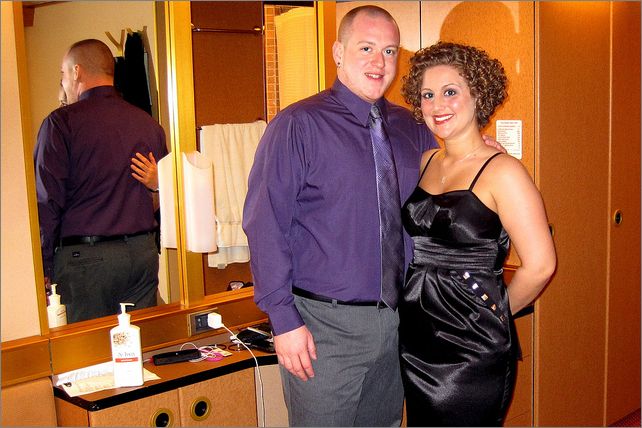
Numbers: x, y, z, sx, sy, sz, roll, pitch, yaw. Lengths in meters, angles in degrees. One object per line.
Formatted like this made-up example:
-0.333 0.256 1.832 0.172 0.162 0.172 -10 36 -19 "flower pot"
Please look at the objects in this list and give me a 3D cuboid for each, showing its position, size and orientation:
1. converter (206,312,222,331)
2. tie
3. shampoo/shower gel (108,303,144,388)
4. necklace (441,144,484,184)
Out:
-0.512 0.518 2.766 0.087 0.092 0.052 11 12 20 "converter"
0.261 -0.005 2.414 0.097 0.979 0.083 1 3 38 "tie"
-0.823 0.543 2.430 0.118 0.331 0.214 -4 6 -22 "shampoo/shower gel"
0.609 -0.209 2.460 0.105 0.141 0.075 28 -4 24 "necklace"
